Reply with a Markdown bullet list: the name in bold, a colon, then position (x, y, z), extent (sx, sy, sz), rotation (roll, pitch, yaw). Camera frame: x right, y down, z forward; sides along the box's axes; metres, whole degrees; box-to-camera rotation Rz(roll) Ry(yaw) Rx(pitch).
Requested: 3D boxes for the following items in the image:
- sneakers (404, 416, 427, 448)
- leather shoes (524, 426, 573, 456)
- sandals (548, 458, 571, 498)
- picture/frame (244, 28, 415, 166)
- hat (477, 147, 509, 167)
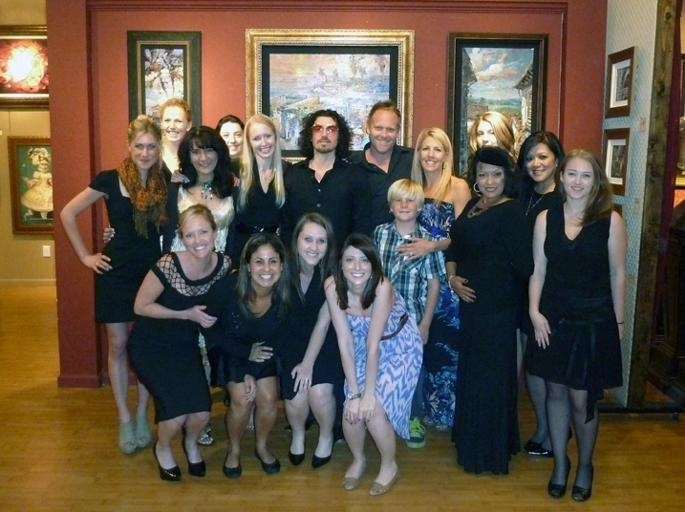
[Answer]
- **sneakers**: position (0.526, 1.230, 4.412), extent (0.106, 0.106, 0.245), rotation (0, 8, 1)
- **leather shoes**: position (1.483, 1.273, 4.355), extent (0.444, 0.179, 0.155), rotation (1, 1, -14)
- **sandals**: position (1.326, 1.386, 3.903), extent (0.089, 0.109, 0.272), rotation (-4, 39, 46)
- **picture/frame**: position (-0.097, -1.321, 5.024), extent (1.313, 1.011, 0.092), rotation (0, 13, 2)
- **hat**: position (0.989, -0.628, 4.089), extent (0.161, 0.068, 0.127), rotation (22, 4, 29)
